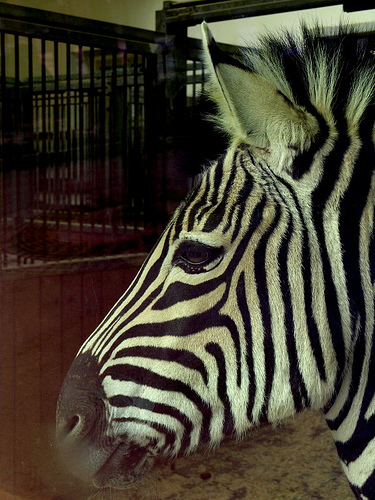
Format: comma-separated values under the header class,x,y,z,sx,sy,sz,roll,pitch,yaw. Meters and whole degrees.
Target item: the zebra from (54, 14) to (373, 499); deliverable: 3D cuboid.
class,x,y,z,sx,sy,sz,roll,pitch,yaw
zebra,0.065,0.048,1.066,0.595,0.928,0.276,2,12,15
